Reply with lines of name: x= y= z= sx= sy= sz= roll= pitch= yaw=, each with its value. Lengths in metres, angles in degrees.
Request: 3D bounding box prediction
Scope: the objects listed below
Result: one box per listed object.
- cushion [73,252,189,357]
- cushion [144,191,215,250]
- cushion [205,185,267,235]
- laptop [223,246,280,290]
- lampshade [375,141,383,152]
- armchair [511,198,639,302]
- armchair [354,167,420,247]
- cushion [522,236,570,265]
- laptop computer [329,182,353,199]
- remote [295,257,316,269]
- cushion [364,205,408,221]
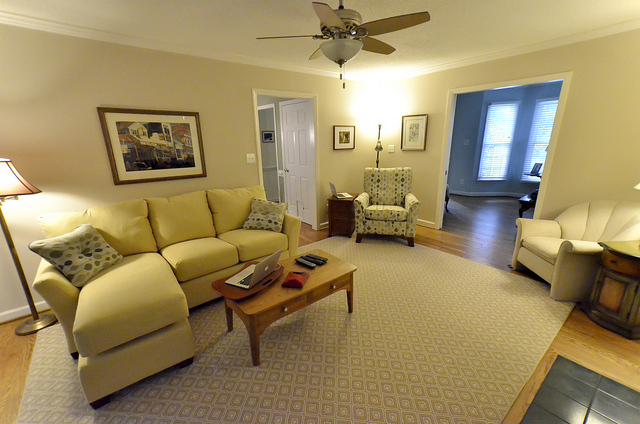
cushion: x=-2.043 y=1.063 z=4.302 sx=0.926 sy=0.456 sz=0.964 roll=-15 pitch=31 yaw=-23
cushion: x=-1.860 y=0.077 z=5.316 sx=0.847 sy=0.654 sz=0.361 roll=-13 pitch=20 yaw=-19
cushion: x=-1.172 y=-0.079 z=5.778 sx=0.906 sy=0.590 sz=0.308 roll=-12 pitch=25 yaw=-38
laptop: x=-0.773 y=0.696 z=4.497 sx=0.465 sy=0.295 sz=0.477 roll=10 pitch=31 yaw=31
lampshade: x=1.058 y=-1.194 z=7.139 sx=0.130 sy=0.229 sz=0.161 roll=-10 pitch=15 yaw=-37
armchair: x=3.199 y=0.415 z=5.426 sx=1.401 sy=1.382 sz=1.196 roll=-1 pitch=10 yaw=-13
armchair: x=1.103 y=-0.125 z=6.586 sx=0.990 sy=1.157 sz=0.855 roll=2 pitch=16 yaw=12
cushion: x=2.897 y=0.481 z=5.287 sx=0.584 sy=0.151 sz=0.517 roll=12 pitch=18 yaw=-32
laptop computer: x=0.316 y=-0.424 z=6.582 sx=0.277 sy=0.213 sz=0.347 roll=-5 pitch=16 yaw=-13
remote: x=-0.174 y=0.600 z=4.776 sx=0.313 sy=0.086 sz=0.079 roll=17 pitch=55 yaw=26
cushion: x=1.061 y=0.001 z=6.417 sx=0.673 sy=0.176 sz=0.384 roll=1 pitch=15 yaw=11
